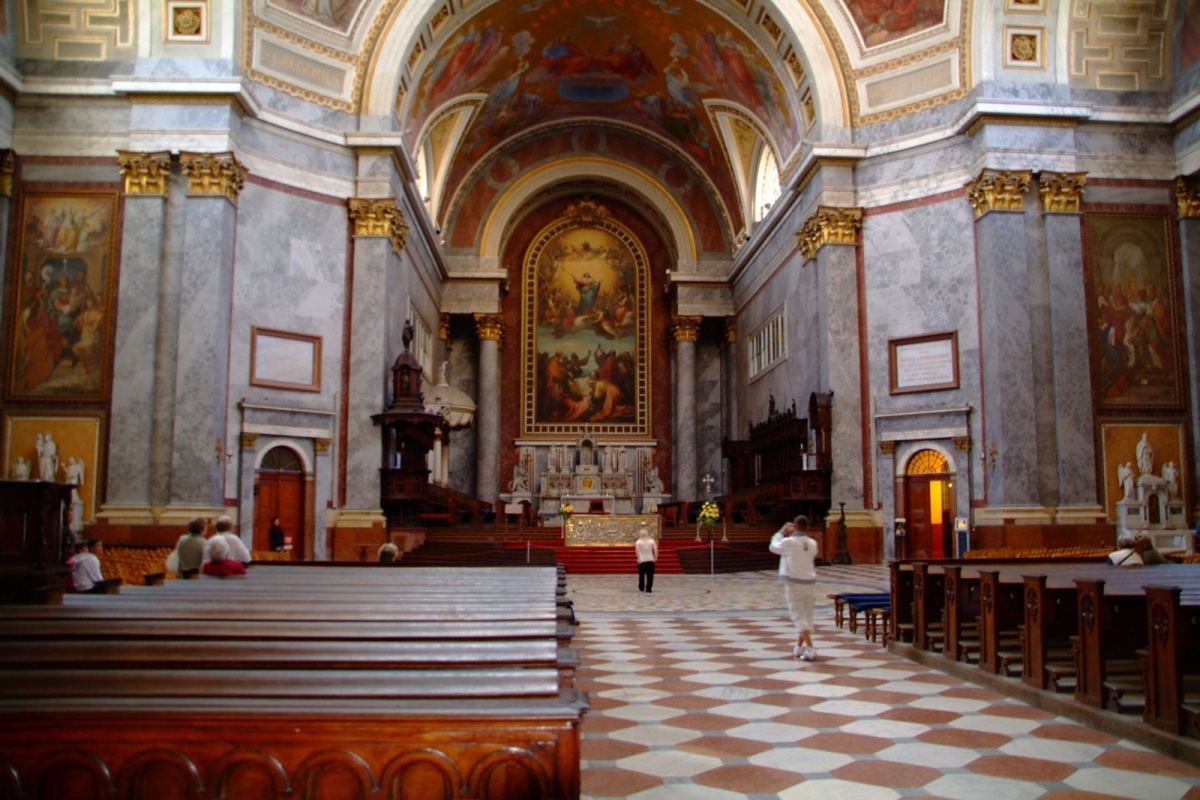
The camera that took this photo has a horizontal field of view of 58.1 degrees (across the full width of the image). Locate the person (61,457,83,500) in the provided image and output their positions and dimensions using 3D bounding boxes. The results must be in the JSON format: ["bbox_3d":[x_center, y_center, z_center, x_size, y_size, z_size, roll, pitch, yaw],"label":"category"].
[{"bbox_3d":[-11.915,1.697,24.410,0.428,0.935,0.350,2,-7,-21],"label":"person"}]

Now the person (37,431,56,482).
[{"bbox_3d":[-12.528,1.205,24.373,0.525,1.029,0.432,1,-7,-10],"label":"person"}]

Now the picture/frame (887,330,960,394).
[{"bbox_3d":[8.352,-0.983,27.971,1.767,1.564,0.172,-6,-16,31],"label":"picture/frame"}]

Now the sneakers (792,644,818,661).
[{"bbox_3d":[2.869,3.540,15.194,0.168,0.142,0.306,1,-19,-2],"label":"sneakers"}]

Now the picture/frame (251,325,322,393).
[{"bbox_3d":[-7.795,-1.029,26.594,1.574,1.253,0.167,8,-17,-38],"label":"picture/frame"}]

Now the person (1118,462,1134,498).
[{"bbox_3d":[12.686,1.900,26.085,0.383,0.826,0.257,2,-7,-23],"label":"person"}]

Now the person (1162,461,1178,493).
[{"bbox_3d":[13.809,1.854,26.246,0.530,0.829,0.189,3,-7,-29],"label":"person"}]

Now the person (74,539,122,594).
[{"bbox_3d":[-7.839,2.580,16.610,0.648,0.841,0.561,-9,-20,-19],"label":"person"}]

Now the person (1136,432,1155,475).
[{"bbox_3d":[13.246,1.263,26.291,0.487,1.006,0.206,4,-8,-36],"label":"person"}]
